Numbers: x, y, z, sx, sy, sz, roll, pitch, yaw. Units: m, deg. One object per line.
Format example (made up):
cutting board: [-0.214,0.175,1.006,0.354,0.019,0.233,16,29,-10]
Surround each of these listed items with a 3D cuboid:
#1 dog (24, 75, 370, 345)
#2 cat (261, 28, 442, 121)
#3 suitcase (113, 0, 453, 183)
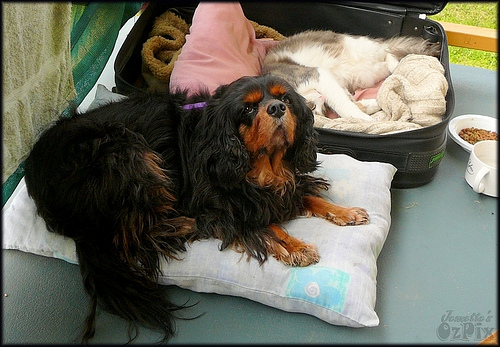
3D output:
dog: [-0.293,0.067,1.808,1.223,0.823,1.033,-24,47,-19]
cat: [0.669,-0.656,2.923,1.321,0.649,0.966,7,27,-4]
suitcase: [0.242,-0.677,3.032,2.028,0.595,1.457,13,85,10]
